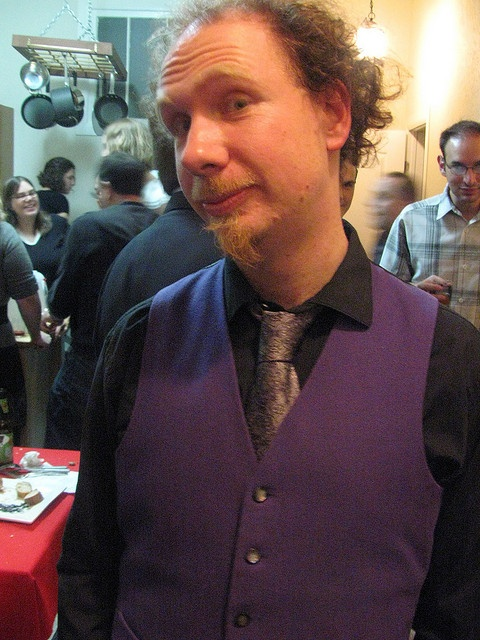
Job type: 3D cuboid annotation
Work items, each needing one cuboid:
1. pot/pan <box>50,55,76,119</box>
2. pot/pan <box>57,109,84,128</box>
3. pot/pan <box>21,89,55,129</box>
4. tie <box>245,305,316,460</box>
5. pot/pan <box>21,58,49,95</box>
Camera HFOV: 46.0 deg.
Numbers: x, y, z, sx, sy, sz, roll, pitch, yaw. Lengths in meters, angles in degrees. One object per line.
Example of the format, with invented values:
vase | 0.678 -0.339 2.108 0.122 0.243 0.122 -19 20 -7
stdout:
pot/pan | -1.344 -1.751 4.275 0.190 0.416 0.136 -5 -6 -28
pot/pan | -1.319 -1.535 4.405 0.149 0.034 0.148 -14 17 3
pot/pan | -1.550 -1.588 4.380 0.274 0.263 0.200 1 4 -4
tie | 0.052 0.060 0.693 0.090 0.223 0.046 -9 45 -17
pot/pan | -1.605 -1.884 4.397 0.222 0.219 0.056 5 16 -5
